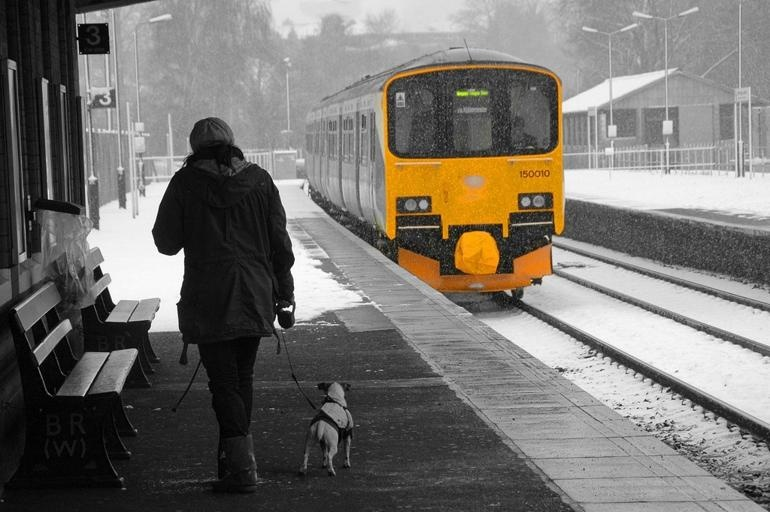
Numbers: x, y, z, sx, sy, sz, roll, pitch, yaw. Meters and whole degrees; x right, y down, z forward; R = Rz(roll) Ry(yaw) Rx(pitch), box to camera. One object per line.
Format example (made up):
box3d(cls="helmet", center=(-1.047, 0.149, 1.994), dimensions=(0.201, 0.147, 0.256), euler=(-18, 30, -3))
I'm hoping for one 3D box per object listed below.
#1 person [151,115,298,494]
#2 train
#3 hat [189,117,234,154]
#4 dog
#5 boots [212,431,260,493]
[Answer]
box3d(cls="person", center=(-1.059, 0.320, 5.550), dimensions=(0.902, 2.452, 0.536), euler=(-4, 8, -17))
box3d(cls="train", center=(0.502, -1.666, 16.359), dimensions=(2.893, 4.705, 7.321), euler=(-5, 11, -22))
box3d(cls="hat", center=(-1.189, -0.844, 5.570), dimensions=(0.195, 0.246, 0.302), euler=(-7, 24, -7))
box3d(cls="dog", center=(-0.406, 1.205, 5.830), dimensions=(0.264, 0.600, 0.895), euler=(4, -7, 6))
box3d(cls="boots", center=(-0.995, 1.413, 5.574), dimensions=(0.377, 0.451, 0.235), euler=(0, -3, 20))
